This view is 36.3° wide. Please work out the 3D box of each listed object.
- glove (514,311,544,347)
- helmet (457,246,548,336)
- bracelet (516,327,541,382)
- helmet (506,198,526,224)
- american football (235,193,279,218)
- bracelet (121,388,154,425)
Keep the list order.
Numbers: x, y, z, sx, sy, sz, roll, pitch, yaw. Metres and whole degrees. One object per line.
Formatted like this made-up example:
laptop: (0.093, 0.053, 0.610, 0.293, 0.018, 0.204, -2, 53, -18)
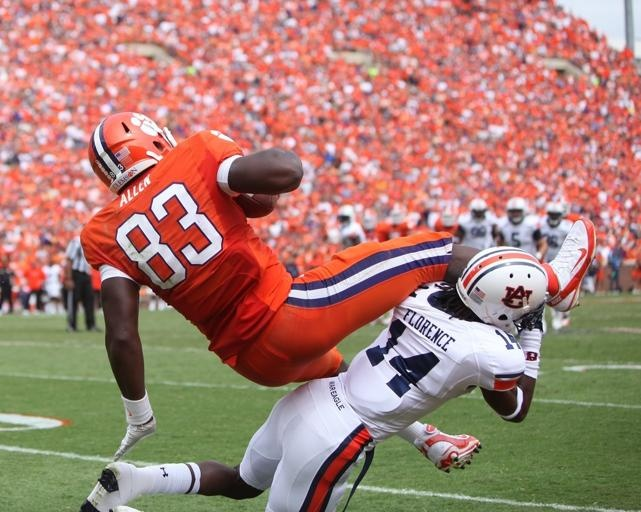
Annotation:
glove: (0.938, 0.321, 4.506, 0.090, 0.209, 0.076, 2, 39, -16)
helmet: (0.816, 0.133, 4.370, 0.423, 0.350, 0.311, -4, 29, -20)
bracelet: (0.927, 0.421, 4.492, 0.084, 0.247, 0.061, 8, -36, 1)
helmet: (2.310, -0.547, 11.648, 0.225, 0.281, 0.304, -6, 9, 11)
american football: (-0.283, -0.227, 4.385, 0.137, 0.121, 0.108, 31, 1, 0)
bracelet: (-0.821, 0.694, 4.431, 0.123, 0.152, 0.148, -12, 9, -19)
